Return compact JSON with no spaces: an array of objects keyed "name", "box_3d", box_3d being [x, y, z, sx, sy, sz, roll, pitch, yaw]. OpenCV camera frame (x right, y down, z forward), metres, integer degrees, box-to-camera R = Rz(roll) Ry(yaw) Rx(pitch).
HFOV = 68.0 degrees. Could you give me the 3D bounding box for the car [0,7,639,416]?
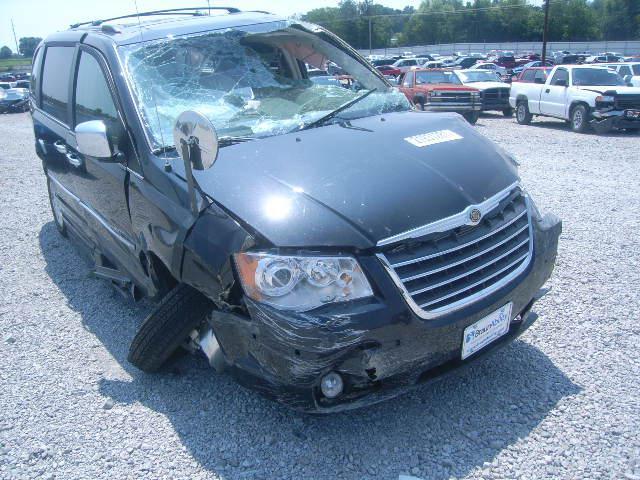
[{"name":"car","box_3d":[-0.498,-0.213,3.804,2.785,1.689,3.835,-26,38,-28]}]
